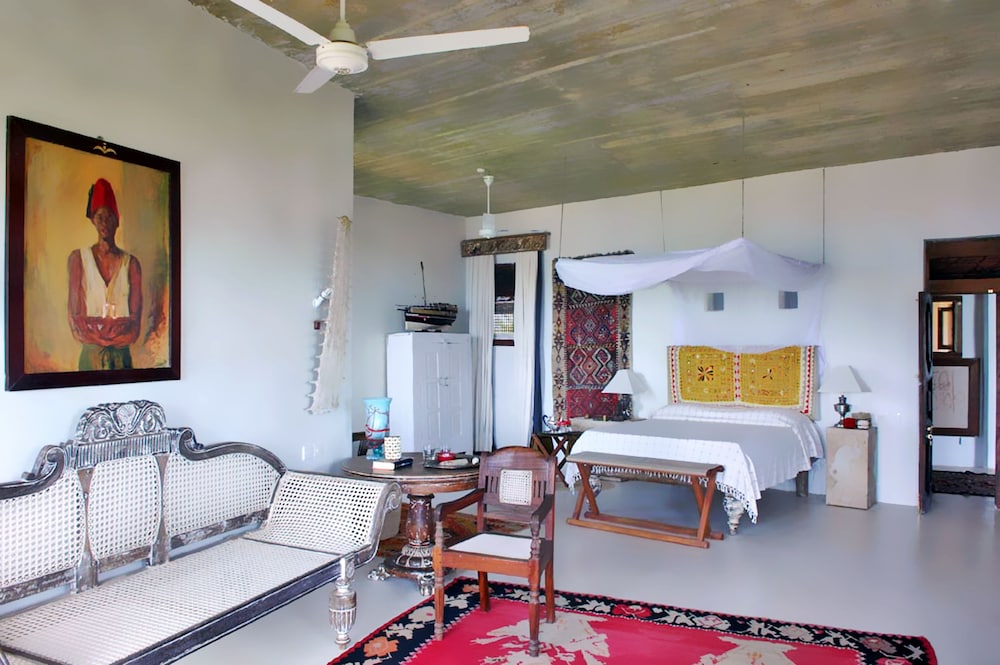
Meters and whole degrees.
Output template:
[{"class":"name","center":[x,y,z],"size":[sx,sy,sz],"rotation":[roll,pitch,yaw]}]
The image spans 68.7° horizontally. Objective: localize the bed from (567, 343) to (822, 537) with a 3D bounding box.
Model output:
[{"class":"bed","center":[2.356,0.924,8.160],"size":[2.284,1.576,2.208],"rotation":[-3,-4,41]}]

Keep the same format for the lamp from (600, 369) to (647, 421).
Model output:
[{"class":"lamp","center":[1.667,0.836,9.674],"size":[0.633,0.806,0.668],"rotation":[8,-10,-42]}]

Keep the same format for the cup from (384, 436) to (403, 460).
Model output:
[{"class":"cup","center":[-0.903,0.967,6.180],"size":[0.170,0.169,0.165],"rotation":[-1,-3,0]}]

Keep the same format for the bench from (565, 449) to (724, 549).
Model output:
[{"class":"bench","center":[1.496,1.584,7.436],"size":[1.652,0.807,1.192],"rotation":[6,9,43]}]

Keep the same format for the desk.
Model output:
[{"class":"desk","center":[-0.691,1.474,6.005],"size":[1.079,0.729,1.031],"rotation":[-1,3,-16]}]

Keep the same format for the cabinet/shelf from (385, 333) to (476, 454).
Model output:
[{"class":"cabinet/shelf","center":[-0.974,0.805,9.851],"size":[0.683,1.707,1.175],"rotation":[6,9,37]}]
